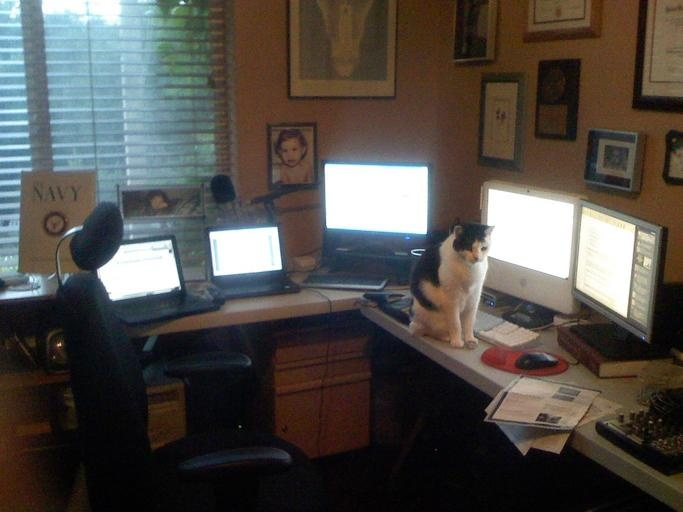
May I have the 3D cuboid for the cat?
[{"bbox_3d":[0.462,0.126,2.500,0.516,0.595,0.351,0,6,39],"label":"cat"}]

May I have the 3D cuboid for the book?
[{"bbox_3d":[1.048,0.354,2.242,0.213,0.050,0.220,-3,15,-9],"label":"book"}]

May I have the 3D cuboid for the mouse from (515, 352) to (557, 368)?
[{"bbox_3d":[0.738,0.396,2.240,0.119,0.039,0.068,-4,10,-10],"label":"mouse"}]

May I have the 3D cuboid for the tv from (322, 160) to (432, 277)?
[{"bbox_3d":[0.192,-0.207,3.100,0.594,0.574,0.324,2,5,13],"label":"tv"}]

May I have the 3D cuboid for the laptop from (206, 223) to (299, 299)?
[{"bbox_3d":[-0.478,-0.005,3.126,0.509,0.400,0.346,-4,2,-18],"label":"laptop"}]

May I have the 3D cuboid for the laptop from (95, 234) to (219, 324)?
[{"bbox_3d":[-0.894,0.108,2.748,0.453,0.421,0.314,-11,16,-23],"label":"laptop"}]

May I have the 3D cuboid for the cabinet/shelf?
[{"bbox_3d":[-0.161,0.659,2.924,0.600,0.752,0.454,-5,11,-32],"label":"cabinet/shelf"}]
